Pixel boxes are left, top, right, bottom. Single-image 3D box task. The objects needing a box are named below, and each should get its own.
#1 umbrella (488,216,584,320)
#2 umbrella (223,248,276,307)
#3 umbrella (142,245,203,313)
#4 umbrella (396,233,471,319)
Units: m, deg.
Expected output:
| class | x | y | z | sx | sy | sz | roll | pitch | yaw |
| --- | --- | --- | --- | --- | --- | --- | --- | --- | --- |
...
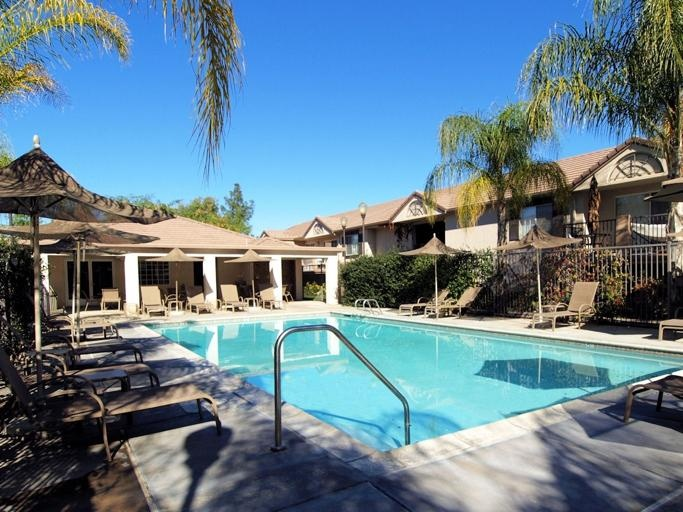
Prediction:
| class | x | y | z | sx | sy | sz | roll | pitch | yaw |
| --- | --- | --- | --- | --- | --- | --- | --- | --- | --- |
| umbrella | 6.199 | 0.536 | 14.377 | 2.976 | 3.499 | 3.012 | -15 | 14 | -40 |
| umbrella | -4.773 | 0.971 | 21.612 | 2.735 | 3.281 | 2.811 | -2 | -3 | 28 |
| umbrella | -7.276 | 1.013 | 19.324 | 2.529 | 2.862 | 2.673 | 2 | 5 | 19 |
| umbrella | 3.407 | 0.753 | 16.242 | 2.669 | 3.217 | 2.791 | 0 | 6 | 5 |
